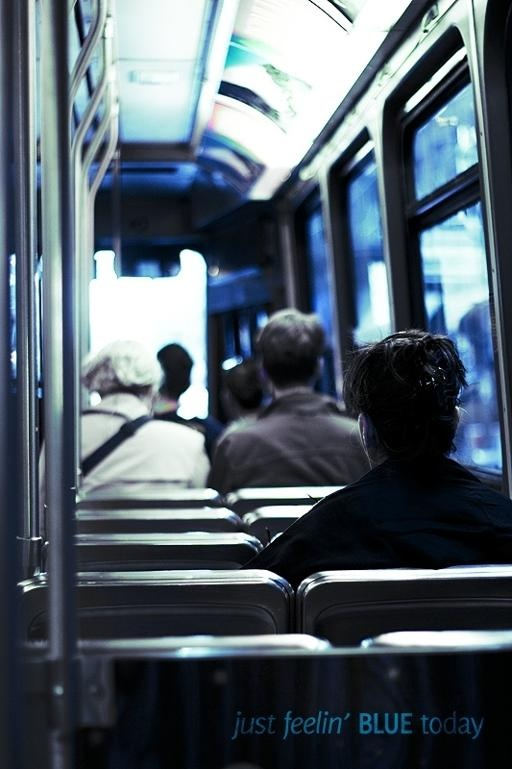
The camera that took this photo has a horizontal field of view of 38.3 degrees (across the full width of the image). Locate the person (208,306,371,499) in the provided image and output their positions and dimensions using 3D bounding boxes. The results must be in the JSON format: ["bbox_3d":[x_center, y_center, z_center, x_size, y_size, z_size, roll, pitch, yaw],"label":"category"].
[{"bbox_3d":[0.104,0.088,2.613,0.611,0.728,0.406,-14,31,-25],"label":"person"}]
